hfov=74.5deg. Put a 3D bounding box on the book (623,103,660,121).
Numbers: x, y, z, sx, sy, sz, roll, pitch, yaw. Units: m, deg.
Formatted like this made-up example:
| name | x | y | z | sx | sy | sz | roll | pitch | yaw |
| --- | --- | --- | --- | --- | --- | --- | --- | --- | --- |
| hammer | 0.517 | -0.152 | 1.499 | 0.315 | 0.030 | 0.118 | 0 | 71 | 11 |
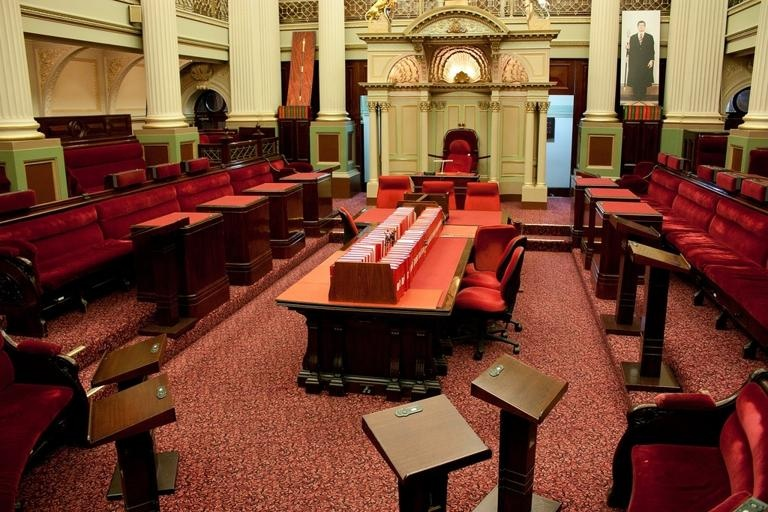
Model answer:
| name | x | y | z | sx | sy | sz | roll | pitch | yaw |
| --- | --- | --- | --- | --- | --- | --- | --- | --- | --- |
| book | 6.228 | -3.431 | 12.083 | 0.830 | 0.384 | 0.572 | 5 | 21 | 19 |
